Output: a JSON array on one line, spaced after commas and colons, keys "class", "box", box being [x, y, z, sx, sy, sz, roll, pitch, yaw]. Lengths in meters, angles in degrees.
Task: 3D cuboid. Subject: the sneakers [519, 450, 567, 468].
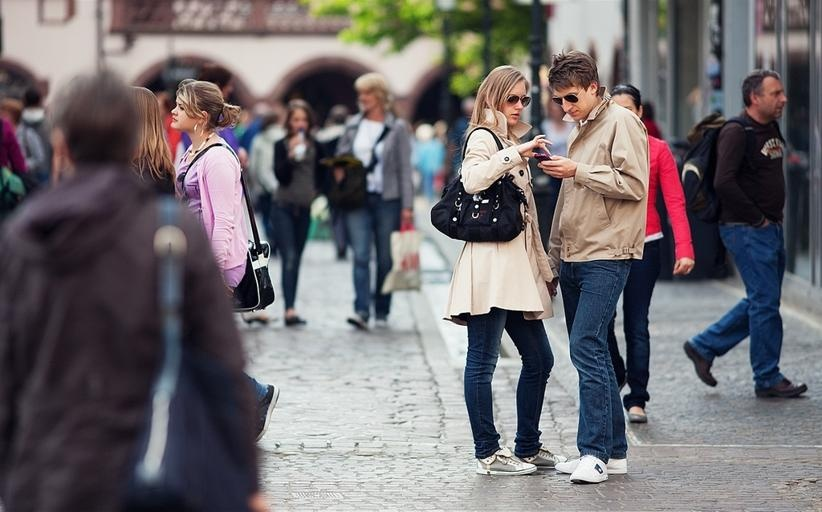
[{"class": "sneakers", "box": [0.887, 1.337, 9.175, 0.332, 0.162, 0.121, -1, 7, -8]}]

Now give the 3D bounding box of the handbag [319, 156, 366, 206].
[{"class": "handbag", "box": [-0.642, -0.739, 13.411, 0.434, 0.527, 0.458, 13, -23, -40]}]

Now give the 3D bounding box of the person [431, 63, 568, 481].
[{"class": "person", "box": [0.568, 0.100, 9.003, 0.835, 2.647, 0.519, -2, 8, -9]}]

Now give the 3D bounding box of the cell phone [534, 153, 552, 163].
[{"class": "cell phone", "box": [0.859, -0.641, 8.888, 0.103, 0.049, 0.126, 0, 9, 5]}]

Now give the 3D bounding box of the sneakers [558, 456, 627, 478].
[{"class": "sneakers", "box": [1.209, 1.382, 8.908, 0.276, 0.111, 0.197, 5, -2, -42]}]

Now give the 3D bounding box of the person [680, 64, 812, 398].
[{"class": "person", "box": [2.613, -0.174, 10.509, 0.825, 2.461, 0.469, 0, 8, 6]}]

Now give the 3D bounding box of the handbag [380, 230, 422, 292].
[{"class": "handbag", "box": [-0.103, 0.035, 13.366, 0.518, 0.722, 0.137, -2, 4, -22]}]
